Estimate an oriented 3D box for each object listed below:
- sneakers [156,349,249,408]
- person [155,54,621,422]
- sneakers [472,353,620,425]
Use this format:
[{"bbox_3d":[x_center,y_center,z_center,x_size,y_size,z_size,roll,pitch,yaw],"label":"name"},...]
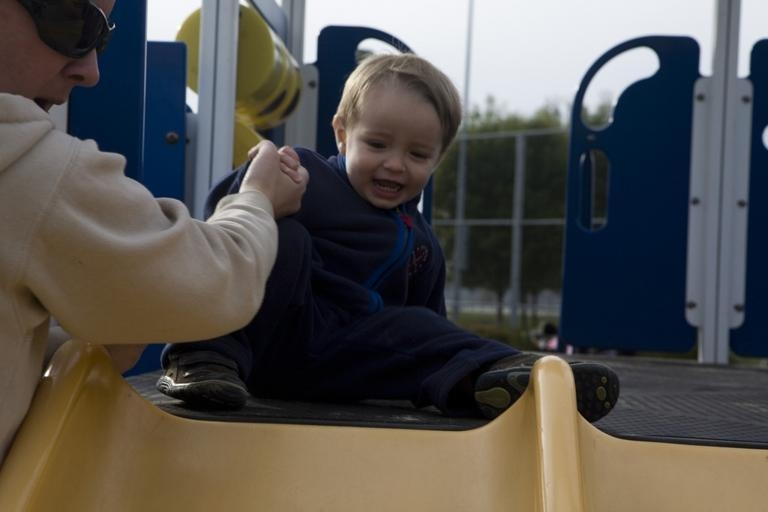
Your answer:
[{"bbox_3d":[-0.434,0.297,2.539,0.213,0.118,0.109,-3,-24,45],"label":"sneakers"},{"bbox_3d":[-0.036,-0.135,2.933,1.019,1.132,0.854,16,-14,-20],"label":"person"},{"bbox_3d":[0.395,0.324,2.589,0.369,0.175,0.189,-3,29,17],"label":"sneakers"}]
